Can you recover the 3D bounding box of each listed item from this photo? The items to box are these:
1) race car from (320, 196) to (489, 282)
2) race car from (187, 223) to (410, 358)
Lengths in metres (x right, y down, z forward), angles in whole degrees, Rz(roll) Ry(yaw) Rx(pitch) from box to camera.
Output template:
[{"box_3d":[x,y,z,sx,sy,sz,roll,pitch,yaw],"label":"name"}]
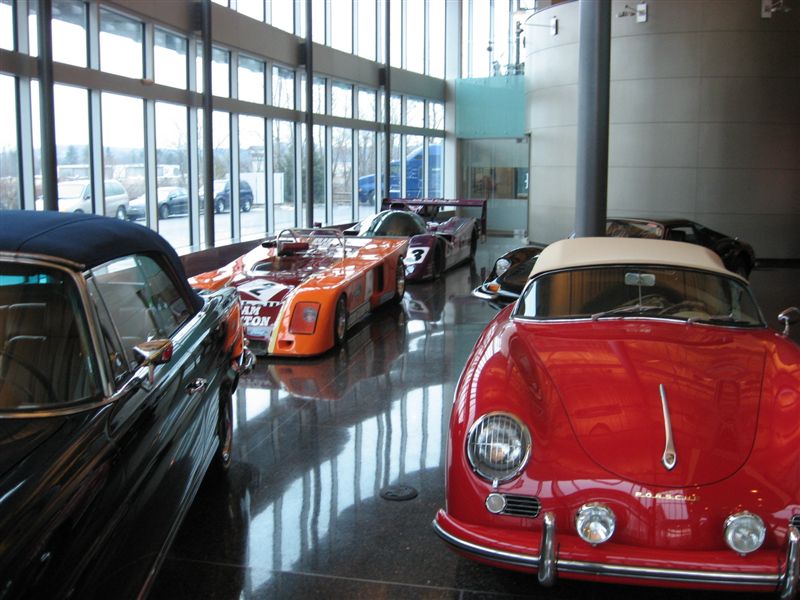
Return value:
[{"box_3d":[0.630,-1.302,12.096,2.090,1.136,3.599,1,9,22],"label":"race car"},{"box_3d":[-0.874,-0.184,7.365,1.521,0.855,2.705,1,8,18],"label":"race car"}]
